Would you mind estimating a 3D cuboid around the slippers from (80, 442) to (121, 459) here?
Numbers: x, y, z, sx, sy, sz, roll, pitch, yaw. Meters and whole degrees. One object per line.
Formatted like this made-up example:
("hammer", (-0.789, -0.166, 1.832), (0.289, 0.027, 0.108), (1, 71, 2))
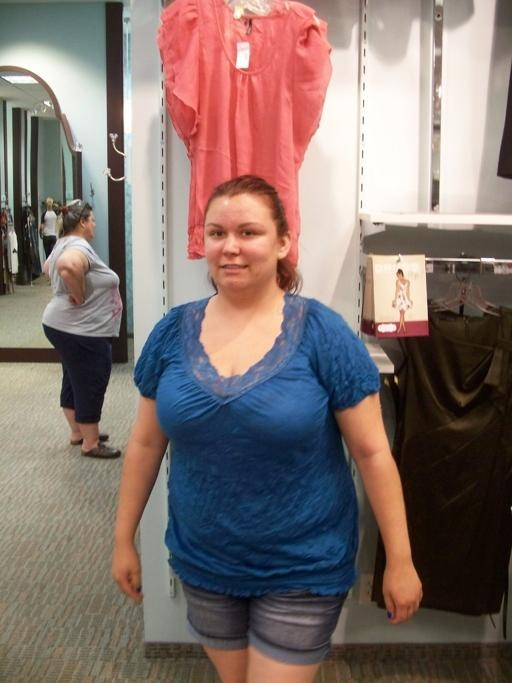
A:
("slippers", (-1.007, 0.718, 3.414), (0.196, 0.108, 0.119), (0, 2, 1))
